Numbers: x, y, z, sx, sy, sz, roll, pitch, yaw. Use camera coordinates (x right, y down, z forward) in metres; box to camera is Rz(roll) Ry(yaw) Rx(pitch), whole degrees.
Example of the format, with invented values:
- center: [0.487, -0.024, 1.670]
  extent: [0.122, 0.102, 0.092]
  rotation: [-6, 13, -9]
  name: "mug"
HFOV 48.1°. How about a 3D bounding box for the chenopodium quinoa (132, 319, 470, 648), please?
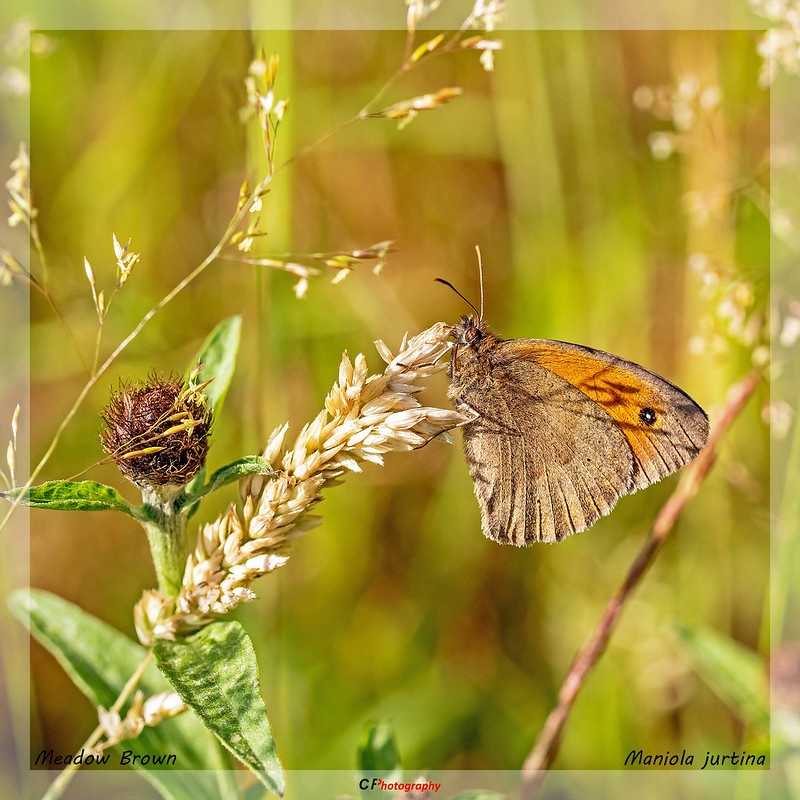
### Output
- center: [-0.289, 0.258, 2.862]
  extent: [1.555, 0.419, 0.524]
  rotation: [-44, 2, -3]
  name: "chenopodium quinoa"
